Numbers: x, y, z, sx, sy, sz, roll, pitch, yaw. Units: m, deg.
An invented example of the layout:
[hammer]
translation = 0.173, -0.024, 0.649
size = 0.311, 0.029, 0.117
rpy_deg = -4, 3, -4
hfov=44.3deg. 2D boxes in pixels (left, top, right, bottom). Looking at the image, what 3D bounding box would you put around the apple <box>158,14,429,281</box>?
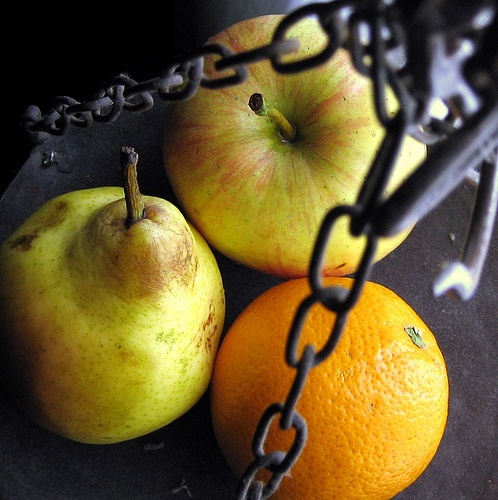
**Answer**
[apple]
translation = 0.063, -0.099, 0.802
size = 0.254, 0.329, 0.307
rpy_deg = 3, 91, 9
